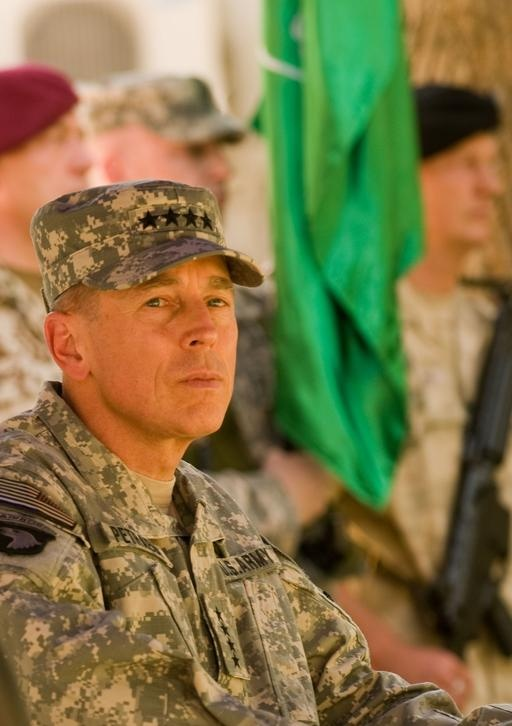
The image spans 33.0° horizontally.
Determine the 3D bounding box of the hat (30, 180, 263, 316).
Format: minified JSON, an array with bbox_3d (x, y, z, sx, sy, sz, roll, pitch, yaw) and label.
[{"bbox_3d":[-0.242,-0.285,2.081,0.549,0.210,0.455,-7,2,42],"label":"hat"}]
